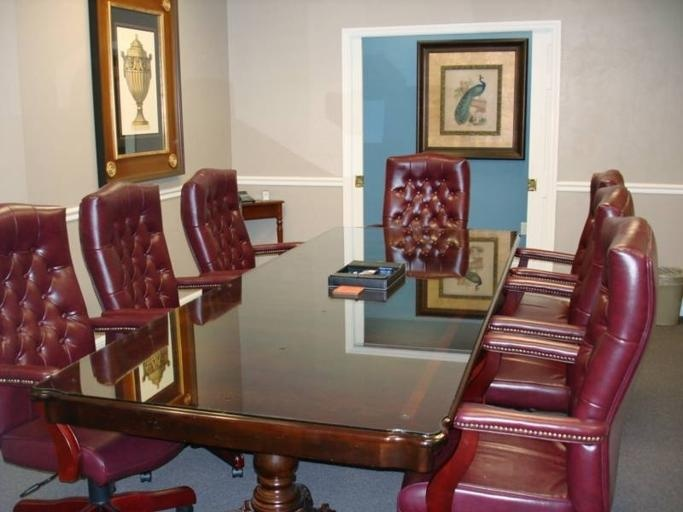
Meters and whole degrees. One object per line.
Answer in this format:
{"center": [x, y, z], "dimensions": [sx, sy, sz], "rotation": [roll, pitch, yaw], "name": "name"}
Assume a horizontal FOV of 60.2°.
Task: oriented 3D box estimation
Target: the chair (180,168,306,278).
{"center": [-0.601, -0.226, 3.912], "dimensions": [0.724, 1.000, 0.678], "rotation": [1, 10, 12], "name": "chair"}

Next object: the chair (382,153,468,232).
{"center": [0.699, -0.512, 4.649], "dimensions": [0.504, 0.786, 0.625], "rotation": [4, 9, 16], "name": "chair"}

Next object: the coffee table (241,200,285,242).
{"center": [-0.716, -0.369, 5.662], "dimensions": [0.474, 0.493, 0.374], "rotation": [1, 3, 33], "name": "coffee table"}
